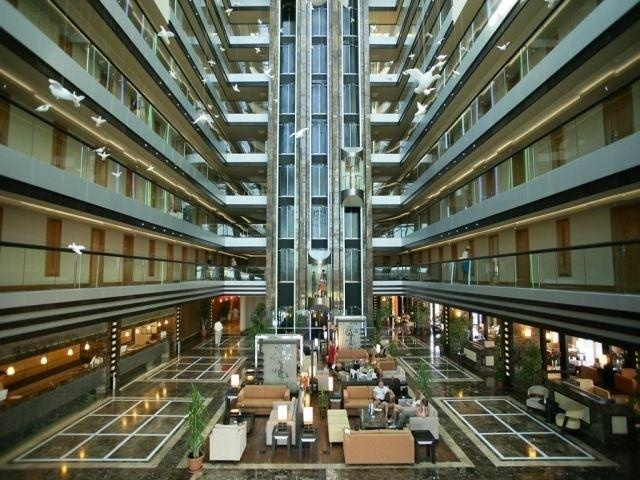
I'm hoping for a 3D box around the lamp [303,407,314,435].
[{"bbox_3d":[-0.442,6.423,17.955,0.361,0.789,0.363,-1,9,-1],"label":"lamp"}]

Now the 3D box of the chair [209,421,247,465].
[{"bbox_3d":[-3.267,7.032,17.606,0.912,1.252,1.320,0,-4,2],"label":"chair"}]

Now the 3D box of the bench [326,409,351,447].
[{"bbox_3d":[0.629,7.225,18.521,0.672,0.591,1.632,-1,6,1],"label":"bench"}]

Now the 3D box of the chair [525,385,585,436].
[{"bbox_3d":[9.165,6.578,19.630,0.893,1.134,2.505,-3,10,-16],"label":"chair"}]

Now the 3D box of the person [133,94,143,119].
[{"bbox_3d":[-8.898,-6.549,24.257,0.330,1.137,1.274,-1,10,-5],"label":"person"}]

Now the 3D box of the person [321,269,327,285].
[{"bbox_3d":[0.193,2.463,33.927,0.431,0.990,0.357,-1,9,-1],"label":"person"}]

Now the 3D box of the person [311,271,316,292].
[{"bbox_3d":[-0.510,2.781,33.853,0.472,1.374,0.419,-1,9,-1],"label":"person"}]
